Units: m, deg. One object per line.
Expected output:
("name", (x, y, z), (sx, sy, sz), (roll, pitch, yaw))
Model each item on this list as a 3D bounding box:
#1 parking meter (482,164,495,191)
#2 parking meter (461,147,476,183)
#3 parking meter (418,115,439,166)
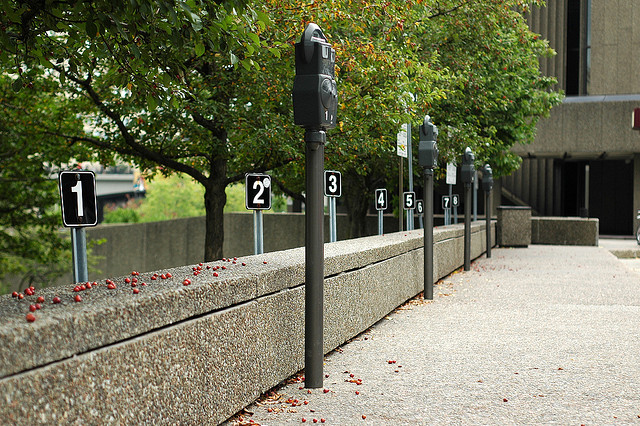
("parking meter", (4.738, -1.027, 20.987), (0.225, 1.036, 0.956), (-2, 1, 17))
("parking meter", (3.361, -1.049, 16.872), (0.323, 0.824, 1.254), (9, 8, 11))
("parking meter", (1.927, -1.250, 13.163), (0.372, 0.866, 0.441), (8, 7, 4))
